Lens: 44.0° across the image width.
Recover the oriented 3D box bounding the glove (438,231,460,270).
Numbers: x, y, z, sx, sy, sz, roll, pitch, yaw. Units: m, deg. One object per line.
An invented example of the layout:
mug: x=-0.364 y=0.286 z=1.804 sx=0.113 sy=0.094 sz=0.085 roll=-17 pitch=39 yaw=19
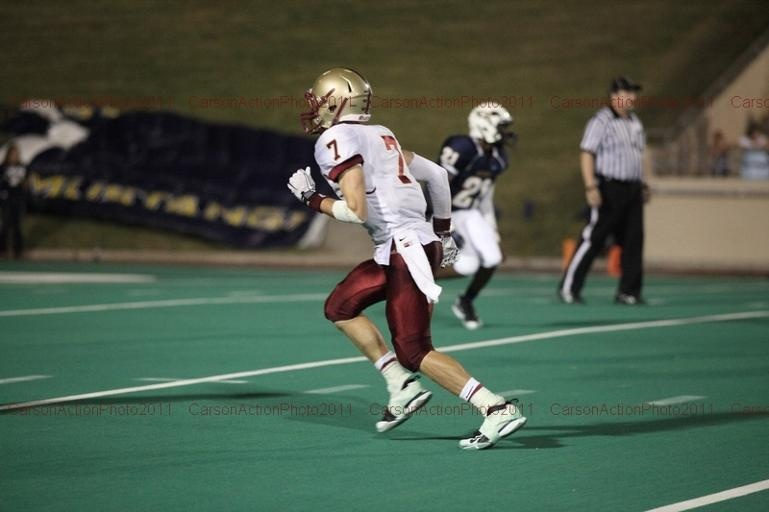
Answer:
glove: x=0.572 y=-0.058 z=8.277 sx=0.112 sy=0.259 sz=0.232 roll=-5 pitch=-13 yaw=29

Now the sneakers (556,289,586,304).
sneakers: x=2.418 y=0.533 z=12.393 sx=0.236 sy=0.163 sz=0.505 roll=-12 pitch=-3 yaw=7

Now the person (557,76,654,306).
person: x=2.775 y=-0.747 z=11.695 sx=0.898 sy=2.824 sz=0.602 roll=-1 pitch=9 yaw=-2

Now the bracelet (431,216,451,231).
bracelet: x=0.503 y=-0.266 z=8.259 sx=0.162 sy=0.116 sz=0.111 roll=-1 pitch=10 yaw=6

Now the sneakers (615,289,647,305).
sneakers: x=3.113 y=0.554 z=12.170 sx=0.191 sy=0.174 sz=0.458 roll=-2 pitch=-3 yaw=-8

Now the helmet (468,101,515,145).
helmet: x=1.299 y=-1.608 z=11.585 sx=0.673 sy=0.442 sz=0.432 roll=1 pitch=18 yaw=5

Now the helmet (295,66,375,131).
helmet: x=-0.399 y=-1.316 z=8.065 sx=0.647 sy=0.445 sz=0.514 roll=7 pitch=14 yaw=23

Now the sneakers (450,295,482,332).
sneakers: x=1.063 y=0.749 z=12.097 sx=0.228 sy=0.238 sz=0.567 roll=-20 pitch=47 yaw=-38

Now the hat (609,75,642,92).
hat: x=2.865 y=-2.060 z=11.464 sx=0.331 sy=0.135 sz=0.260 roll=11 pitch=22 yaw=41
